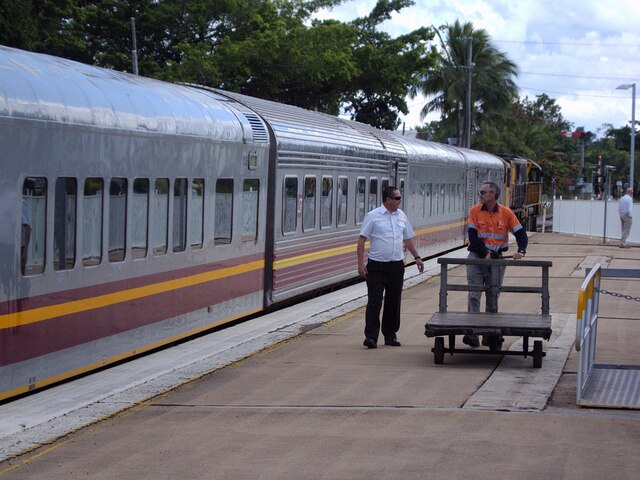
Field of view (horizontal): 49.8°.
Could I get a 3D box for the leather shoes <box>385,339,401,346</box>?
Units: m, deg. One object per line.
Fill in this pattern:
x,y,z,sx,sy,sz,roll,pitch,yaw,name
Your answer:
0.993,1.384,9.387,0.083,0.092,0.204,0,-4,-34,leather shoes

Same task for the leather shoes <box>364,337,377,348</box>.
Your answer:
0.682,1.373,9.207,0.194,0.144,0.156,-2,4,-13,leather shoes

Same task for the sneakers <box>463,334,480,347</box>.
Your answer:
1.980,1.328,9.051,0.197,0.202,0.284,0,4,9,sneakers
